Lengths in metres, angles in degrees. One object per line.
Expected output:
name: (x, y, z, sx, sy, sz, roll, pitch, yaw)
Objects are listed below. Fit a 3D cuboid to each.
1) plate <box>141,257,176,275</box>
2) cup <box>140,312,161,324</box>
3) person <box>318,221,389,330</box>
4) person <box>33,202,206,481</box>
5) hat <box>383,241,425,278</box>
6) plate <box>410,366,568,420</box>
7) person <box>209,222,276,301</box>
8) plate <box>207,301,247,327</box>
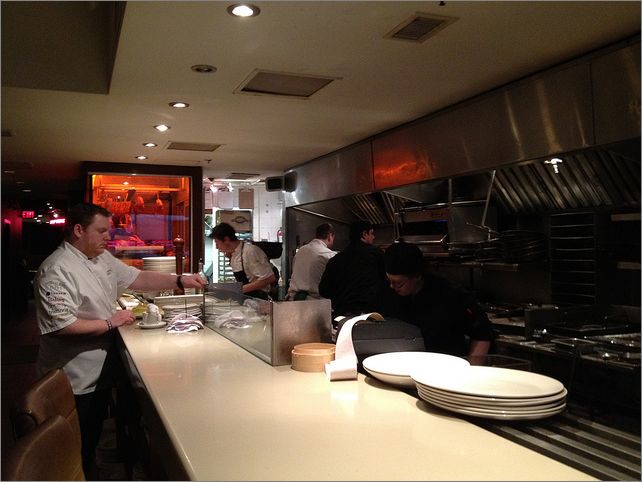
plate: (-1.746, 0.252, 4.823, 0.227, 0.136, 0.230, 2, -2, -9)
cup: (-1.149, 0.520, 3.006, 0.102, 0.069, 0.066, 14, -23, -24)
person: (0.336, 0.249, 4.040, 0.583, 0.848, 0.538, -9, 8, -39)
person: (-1.520, 0.631, 3.073, 0.444, 1.780, 0.920, -3, 6, 12)
hat: (0.442, 0.091, 2.387, 0.184, 0.134, 0.180, 5, 0, -2)
plate: (0.547, 0.485, 1.490, 0.473, 0.092, 0.338, -3, 6, 14)
person: (-0.845, 0.198, 4.910, 0.623, 0.825, 0.444, 1, 8, 39)
plate: (-0.593, 0.411, 2.727, 0.212, 0.102, 0.279, 2, -3, -21)
